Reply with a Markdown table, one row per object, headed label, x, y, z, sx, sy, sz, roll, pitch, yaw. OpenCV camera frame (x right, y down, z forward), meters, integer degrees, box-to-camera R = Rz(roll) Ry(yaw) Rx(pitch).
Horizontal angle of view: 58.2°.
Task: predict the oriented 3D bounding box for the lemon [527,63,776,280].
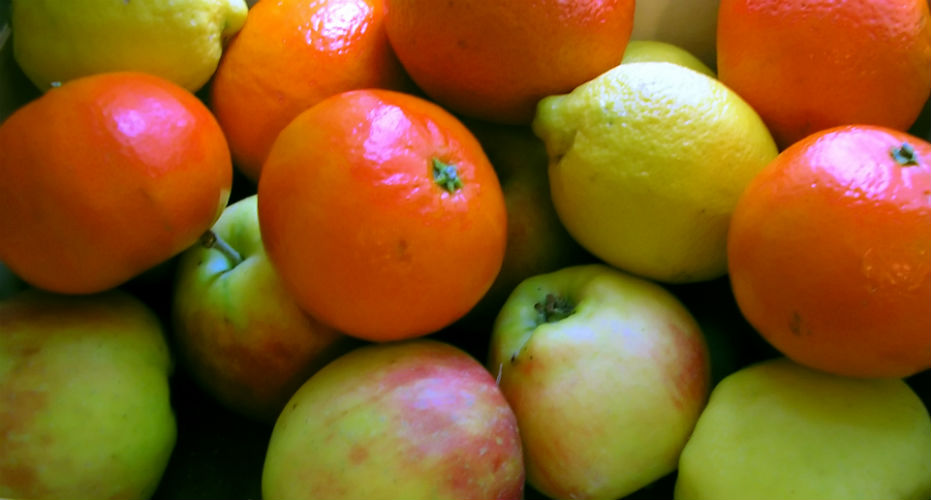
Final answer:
| label | x | y | z | sx | sy | sz | roll | pitch | yaw |
| --- | --- | --- | --- | --- | --- | --- | --- | --- | --- |
| lemon | 0.263 | -0.154 | 1.253 | 0.344 | 0.262 | 0.255 | 25 | 46 | 9 |

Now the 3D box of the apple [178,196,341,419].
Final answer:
| label | x | y | z | sx | sy | sz | roll | pitch | yaw |
| --- | --- | --- | --- | --- | --- | --- | --- | --- | --- |
| apple | -0.287 | 0.083 | 1.188 | 0.200 | 0.241 | 0.200 | -35 | 21 | 3 |

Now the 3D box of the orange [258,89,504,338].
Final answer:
| label | x | y | z | sx | sy | sz | roll | pitch | yaw |
| --- | --- | --- | --- | --- | --- | --- | --- | --- | --- |
| orange | -0.113 | -0.050 | 1.143 | 0.328 | 0.195 | 0.286 | -3 | 59 | 2 |
